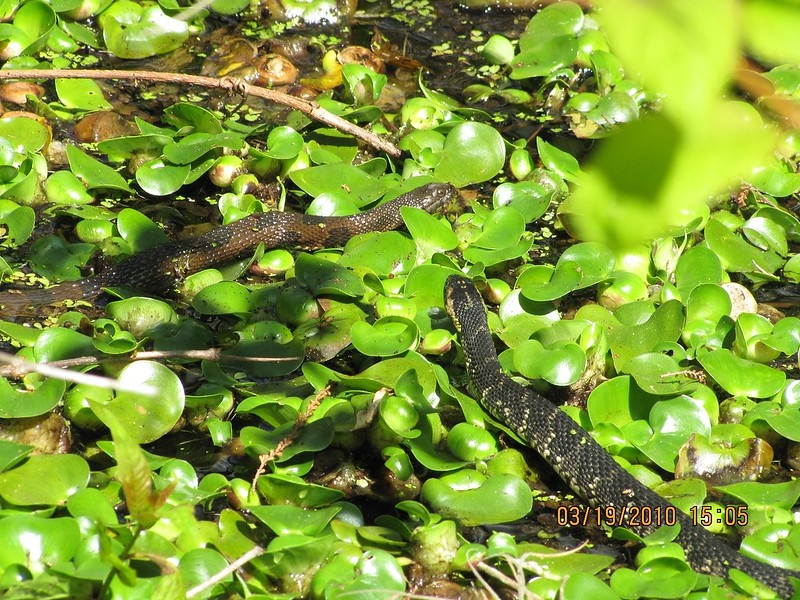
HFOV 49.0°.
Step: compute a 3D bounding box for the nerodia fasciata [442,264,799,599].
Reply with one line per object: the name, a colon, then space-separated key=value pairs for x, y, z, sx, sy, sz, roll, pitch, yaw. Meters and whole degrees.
nerodia fasciata: x=1.196 y=0.773 z=4.843 sx=2.557 sy=0.383 sz=0.399 roll=38 pitch=39 yaw=26
